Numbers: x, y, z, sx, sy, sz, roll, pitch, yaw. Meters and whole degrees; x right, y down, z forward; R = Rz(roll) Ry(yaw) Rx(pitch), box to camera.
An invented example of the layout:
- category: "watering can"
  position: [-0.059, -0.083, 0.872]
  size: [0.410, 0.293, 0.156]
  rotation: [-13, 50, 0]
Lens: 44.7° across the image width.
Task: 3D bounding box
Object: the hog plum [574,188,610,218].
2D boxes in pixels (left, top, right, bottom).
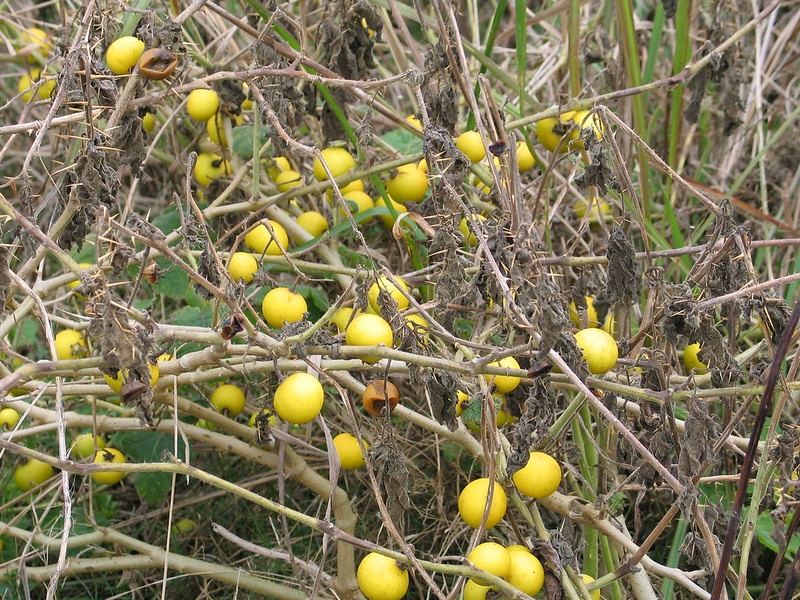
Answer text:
- category: "hog plum"
  position: [0.584, -0.295, 2.958]
  size: [0.110, 0.081, 0.126]
  rotation: [10, 19, 21]

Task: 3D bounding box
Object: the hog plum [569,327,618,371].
- category: "hog plum"
  position: [0.432, 0.114, 2.148]
  size: [0.090, 0.095, 0.114]
  rotation: [-11, 99, -42]

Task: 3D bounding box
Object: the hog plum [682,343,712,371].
- category: "hog plum"
  position: [0.699, 0.134, 2.292]
  size: [0.042, 0.053, 0.048]
  rotation: [32, 79, 15]
